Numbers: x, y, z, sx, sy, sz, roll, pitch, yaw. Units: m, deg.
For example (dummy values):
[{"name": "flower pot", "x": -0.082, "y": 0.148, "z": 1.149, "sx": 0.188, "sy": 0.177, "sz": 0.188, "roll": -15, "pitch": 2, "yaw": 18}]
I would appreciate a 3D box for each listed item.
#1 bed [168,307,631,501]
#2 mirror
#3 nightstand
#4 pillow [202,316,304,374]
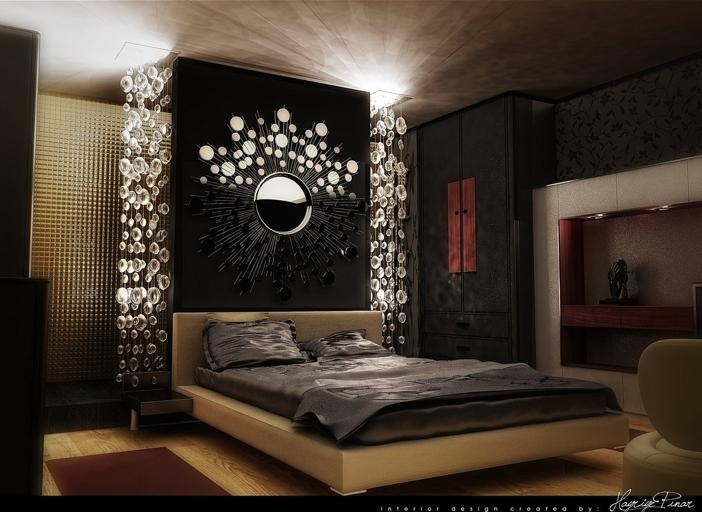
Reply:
[{"name": "bed", "x": 0.135, "y": 0.924, "z": 4.101, "sx": 2.251, "sy": 0.894, "sz": 3.029, "roll": 3, "pitch": -5, "yaw": -36}, {"name": "mirror", "x": -0.827, "y": -0.531, "z": 5.144, "sx": 2.192, "sy": 2.124, "sz": 0.074, "roll": 1, "pitch": -7, "yaw": -31}, {"name": "nightstand", "x": -1.684, "y": 1.250, "z": 4.383, "sx": 0.486, "sy": 0.408, "sz": 0.654, "roll": 1, "pitch": 1, "yaw": -32}, {"name": "pillow", "x": -0.889, "y": 0.752, "z": 4.485, "sx": 0.606, "sy": 0.140, "sz": 0.552, "roll": 0, "pitch": 31, "yaw": -23}]
